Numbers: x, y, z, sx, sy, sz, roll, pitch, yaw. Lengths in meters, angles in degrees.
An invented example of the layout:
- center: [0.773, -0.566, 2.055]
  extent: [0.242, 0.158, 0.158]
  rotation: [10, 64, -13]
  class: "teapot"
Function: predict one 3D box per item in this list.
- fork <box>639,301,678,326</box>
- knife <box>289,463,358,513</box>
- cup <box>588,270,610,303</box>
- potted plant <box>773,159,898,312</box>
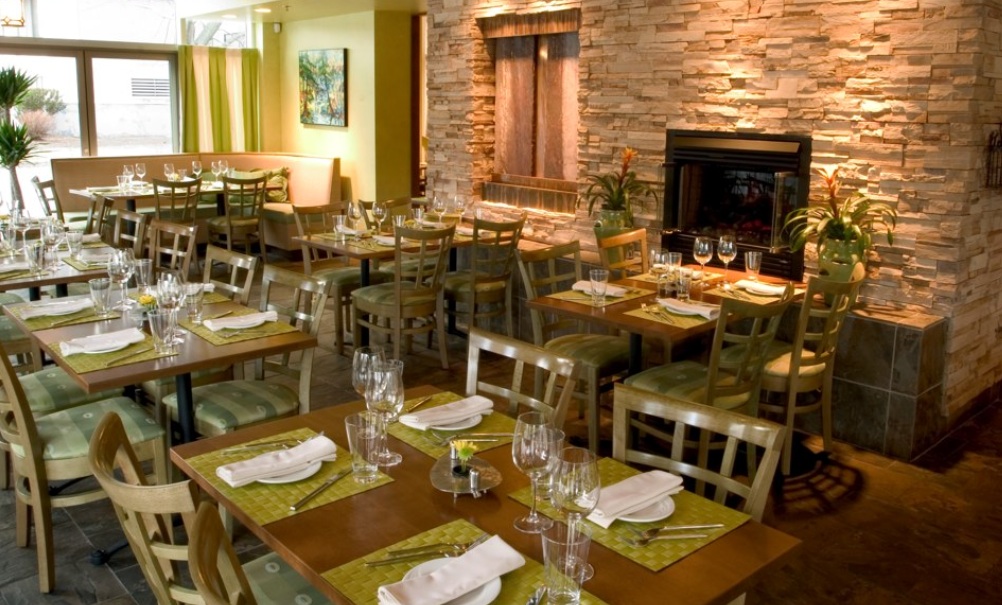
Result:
- center: [0.959, 0.075, 4.144]
  extent: [0.069, 0.046, 0.317]
  rotation: [-12, 10, -6]
  class: "fork"
- center: [-0.625, 0.654, 2.539]
  extent: [0.061, 0.045, 0.413]
  rotation: [-7, 13, 32]
  class: "knife"
- center: [0.626, -0.103, 4.323]
  extent: [0.092, 0.197, 0.107]
  rotation: [6, 19, 23]
  class: "cup"
- center: [2.404, -0.484, 4.832]
  extent: [0.712, 0.896, 0.513]
  rotation: [8, 20, 30]
  class: "potted plant"
